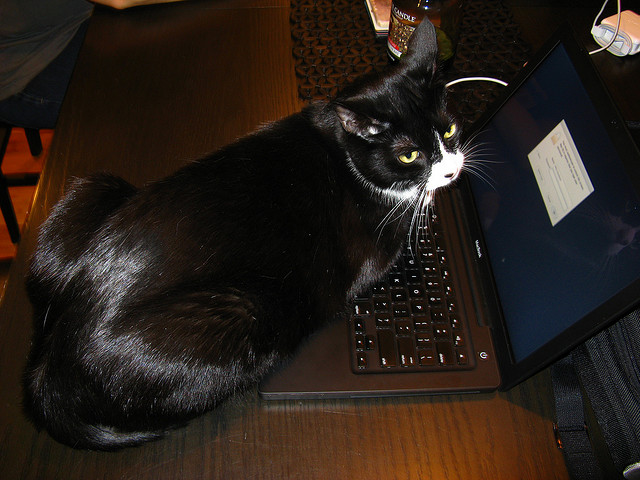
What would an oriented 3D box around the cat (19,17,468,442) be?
[{"bbox_3d":[-0.139,-0.035,1.364,1.041,0.599,0.607,-34,72,-10],"label":"cat"}]
